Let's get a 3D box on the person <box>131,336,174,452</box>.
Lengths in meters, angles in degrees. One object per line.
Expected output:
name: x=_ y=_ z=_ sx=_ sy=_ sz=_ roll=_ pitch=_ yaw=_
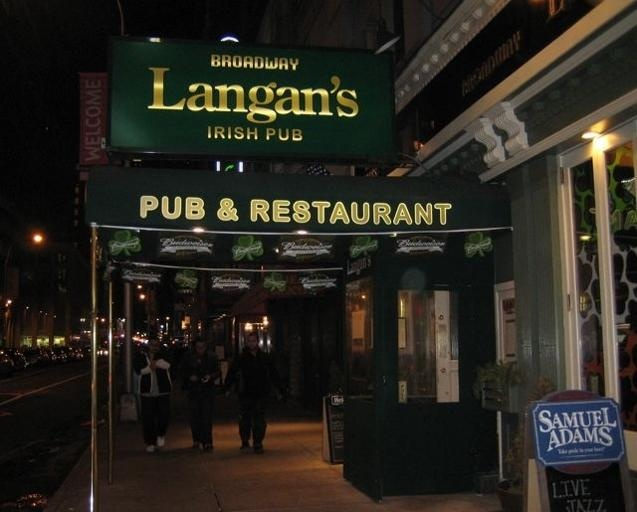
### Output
person: x=-3.435 y=2.841 z=13.410 sx=0.722 sy=2.270 sz=1.315 roll=3 pitch=-11 yaw=-15

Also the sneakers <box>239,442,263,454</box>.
sneakers: x=-1.270 y=3.676 z=12.348 sx=0.456 sy=0.224 sz=0.178 roll=10 pitch=-8 yaw=17

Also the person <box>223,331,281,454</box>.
person: x=-1.300 y=2.614 z=12.464 sx=0.917 sy=2.250 sz=0.587 roll=-1 pitch=-10 yaw=6

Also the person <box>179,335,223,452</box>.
person: x=-2.389 y=2.792 z=13.103 sx=0.748 sy=2.178 sz=0.867 roll=2 pitch=-10 yaw=-10

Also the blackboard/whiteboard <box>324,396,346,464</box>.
blackboard/whiteboard: x=0.246 y=3.063 z=11.404 sx=0.404 sy=1.149 sz=0.408 roll=-2 pitch=-10 yaw=13
